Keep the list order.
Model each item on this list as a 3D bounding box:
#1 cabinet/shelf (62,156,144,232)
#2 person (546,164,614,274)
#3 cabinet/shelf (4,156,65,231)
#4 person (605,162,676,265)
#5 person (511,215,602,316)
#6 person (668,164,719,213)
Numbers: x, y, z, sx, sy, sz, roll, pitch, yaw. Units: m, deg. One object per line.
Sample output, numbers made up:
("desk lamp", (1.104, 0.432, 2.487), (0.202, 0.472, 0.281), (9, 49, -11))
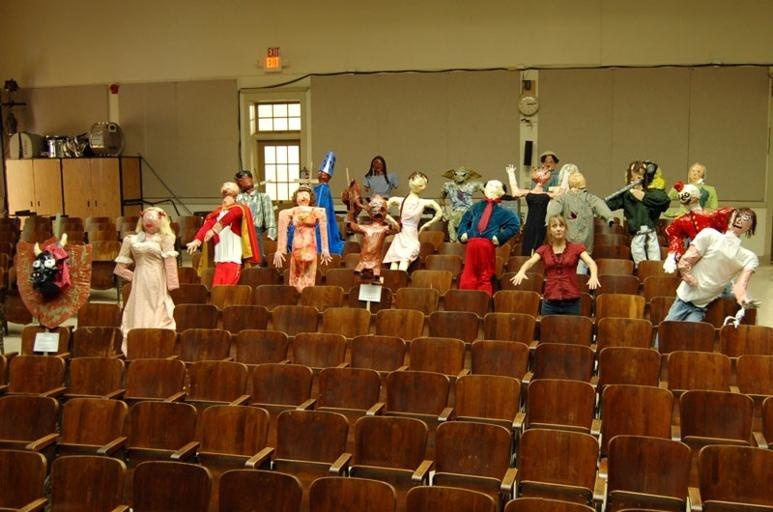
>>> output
("cabinet/shelf", (-6.249, -1.504, 16.945), (1.151, 1.335, 0.445), (1, -2, -22))
("person", (2.494, -0.444, 10.385), (0.625, 1.382, 0.432), (-3, -14, 13))
("cabinet/shelf", (-7.245, -1.323, 16.614), (1.424, 1.647, 0.592), (0, 1, 16))
("person", (3.313, -0.365, 10.640), (0.719, 1.814, 0.479), (-6, 13, 13))
("person", (2.025, 0.141, 9.543), (0.917, 1.730, 0.621), (-2, -9, 16))
("person", (4.531, -0.987, 11.883), (0.784, 0.868, 0.520), (2, -18, 22))
